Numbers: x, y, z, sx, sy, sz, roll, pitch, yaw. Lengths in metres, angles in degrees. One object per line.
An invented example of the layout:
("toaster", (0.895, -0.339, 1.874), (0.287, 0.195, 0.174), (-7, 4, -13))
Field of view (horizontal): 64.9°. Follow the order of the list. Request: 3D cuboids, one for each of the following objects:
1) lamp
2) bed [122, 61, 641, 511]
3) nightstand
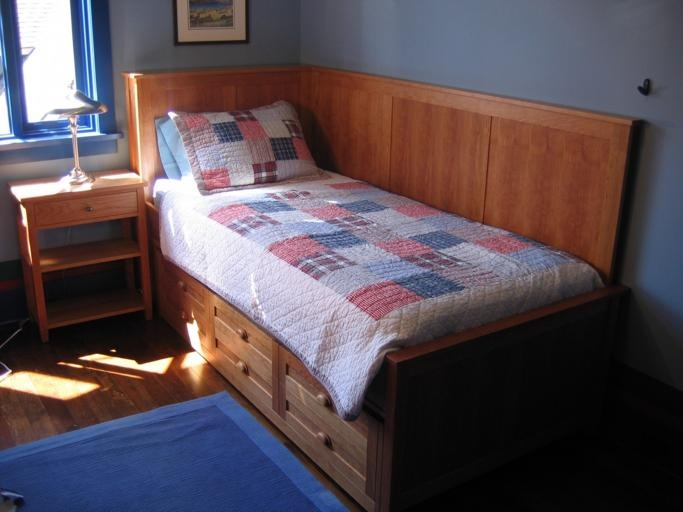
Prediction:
("lamp", (-1.470, -0.717, 3.036), (0.326, 0.513, 0.456), (-16, 28, -25))
("bed", (0.038, -0.207, 2.985), (1.652, 1.585, 2.650), (-14, 26, -33))
("nightstand", (-1.470, -0.023, 3.102), (0.673, 0.793, 0.472), (-14, 23, -42))
